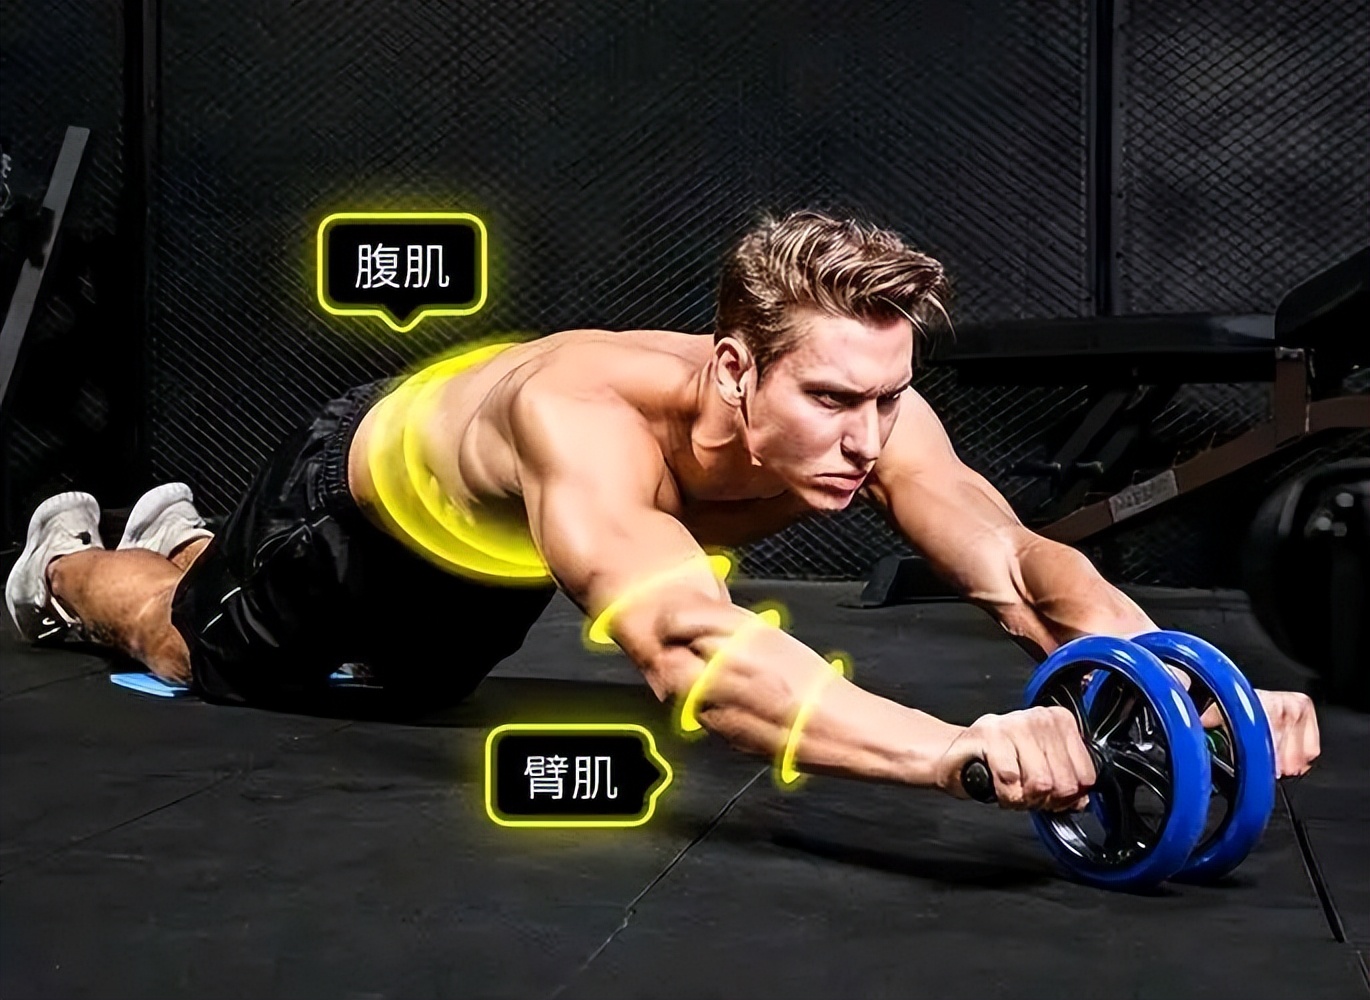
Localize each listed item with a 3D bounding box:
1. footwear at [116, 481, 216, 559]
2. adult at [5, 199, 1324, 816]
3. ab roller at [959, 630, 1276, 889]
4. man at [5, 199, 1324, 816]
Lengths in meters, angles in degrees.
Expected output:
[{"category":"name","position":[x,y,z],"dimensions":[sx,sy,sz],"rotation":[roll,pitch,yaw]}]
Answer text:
[{"category":"footwear","position":[-1.220,0.048,2.636],"dimensions":[0.119,0.083,0.241],"rotation":[13,48,36]},{"category":"adult","position":[-0.323,-0.004,1.733],"dimensions":[2.041,0.499,0.726],"rotation":[4,7,39]},{"category":"ab roller","position":[0.455,0.222,1.204],"dimensions":[0.322,0.238,0.380],"rotation":[4,6,41]},{"category":"man","position":[-0.325,0.015,1.737],"dimensions":[2.041,0.499,0.726],"rotation":[4,7,39]}]
